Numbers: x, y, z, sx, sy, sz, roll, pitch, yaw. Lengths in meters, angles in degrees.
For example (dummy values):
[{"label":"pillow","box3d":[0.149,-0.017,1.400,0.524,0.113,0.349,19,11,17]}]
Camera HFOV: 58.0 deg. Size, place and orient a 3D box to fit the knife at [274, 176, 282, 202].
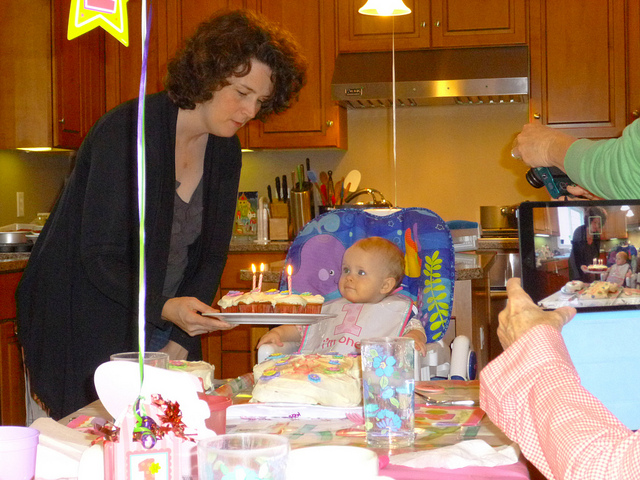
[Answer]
[{"label":"knife","box3d":[-0.298,-0.367,3.983,0.033,0.238,0.035,-4,26,5]}]
